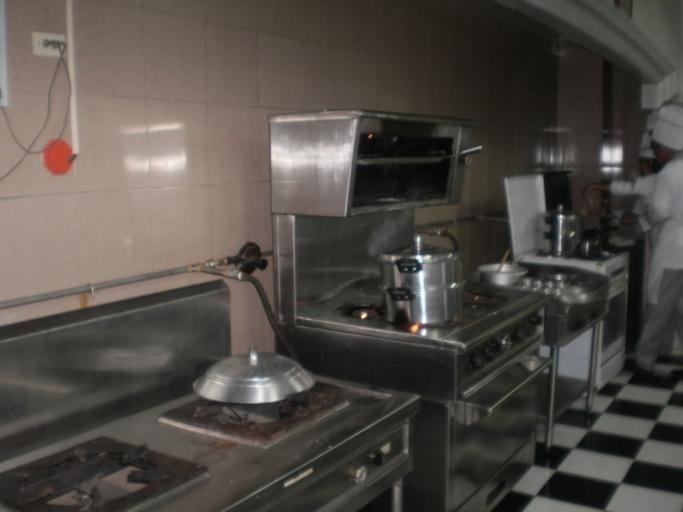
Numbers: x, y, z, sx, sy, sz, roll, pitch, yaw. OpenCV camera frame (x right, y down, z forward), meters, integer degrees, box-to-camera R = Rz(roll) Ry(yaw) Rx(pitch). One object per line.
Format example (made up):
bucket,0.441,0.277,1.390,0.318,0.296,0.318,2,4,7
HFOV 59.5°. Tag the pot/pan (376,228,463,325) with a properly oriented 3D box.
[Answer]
pot/pan,0.307,0.054,2.424,0.379,0.345,0.337,-9,9,-35

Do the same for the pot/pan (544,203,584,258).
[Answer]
pot/pan,1.384,-0.150,3.849,0.285,0.347,0.214,2,-1,10

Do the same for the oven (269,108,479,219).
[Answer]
oven,0.061,-0.351,2.374,0.485,0.374,0.893,3,9,35

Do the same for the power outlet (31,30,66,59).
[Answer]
power outlet,-0.860,-0.629,1.759,0.024,0.064,0.102,17,19,27
